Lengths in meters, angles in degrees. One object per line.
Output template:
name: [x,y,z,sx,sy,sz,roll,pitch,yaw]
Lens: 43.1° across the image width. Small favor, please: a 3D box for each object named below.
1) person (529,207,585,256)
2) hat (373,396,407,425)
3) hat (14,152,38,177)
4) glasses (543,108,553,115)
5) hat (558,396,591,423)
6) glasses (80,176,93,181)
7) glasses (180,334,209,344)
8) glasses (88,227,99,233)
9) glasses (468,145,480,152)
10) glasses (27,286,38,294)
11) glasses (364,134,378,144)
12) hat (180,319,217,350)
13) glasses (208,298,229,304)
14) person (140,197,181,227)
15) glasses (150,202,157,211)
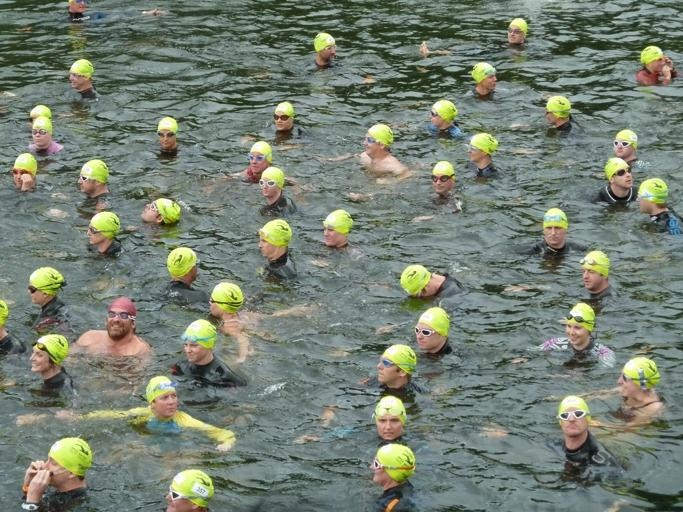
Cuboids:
person: [5.637,-0.540,23.592,2.144,0.972,0.879,-4,-11,-19]
hat: [1.095,3.202,17.895,0.737,0.643,0.485,1,49,11]
hat: [-9.321,-2.685,25.654,0.843,0.606,0.752,2,36,-4]
glasses: [7.011,-4.843,29.366,0.318,0.131,0.240,-2,4,-9]
hat: [4.739,3.091,17.519,0.677,0.607,0.447,-6,47,17]
glasses: [-7.369,-2.195,25.034,0.233,0.045,0.211,6,7,-41]
glasses: [-3.202,1.807,18.858,0.589,0.147,0.172,-2,41,2]
glasses: [-6.571,-0.655,22.854,0.200,0.040,0.185,5,11,-44]
glasses: [4.151,-3.295,26.821,0.385,0.072,0.237,10,7,-25]
glasses: [-7.473,0.823,20.952,0.241,0.187,0.093,5,24,11]
glasses: [0.896,-3.631,27.444,0.380,0.112,0.230,7,14,-16]
hat: [-3.095,1.694,19.137,0.783,0.465,0.858,15,25,34]
glasses: [-2.939,1.084,20.664,0.461,0.145,0.141,6,44,12]
person: [-5.126,-1.181,24.581,1.054,0.685,0.720,-25,46,-23]
glasses: [-5.354,-1.378,24.509,0.232,0.078,0.212,-13,67,31]
